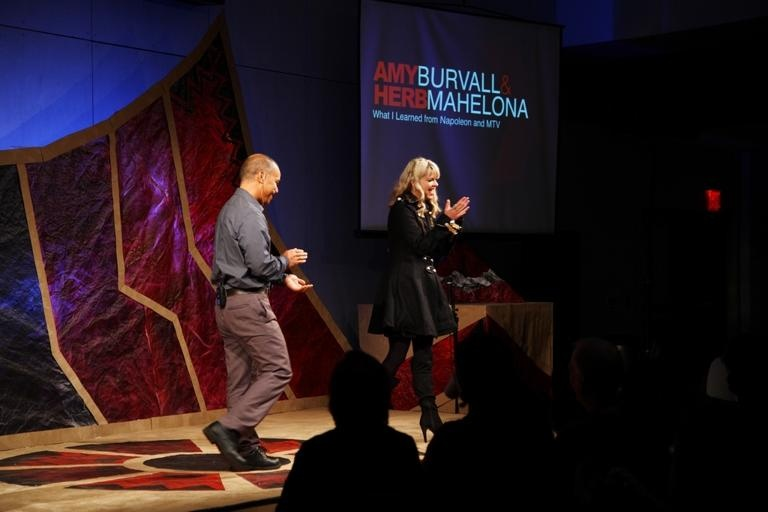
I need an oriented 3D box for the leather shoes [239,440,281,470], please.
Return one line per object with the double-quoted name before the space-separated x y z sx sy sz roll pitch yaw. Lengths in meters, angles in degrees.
"leather shoes" -0.759 1.234 3.489 0.282 0.144 0.115 2 -4 -5
